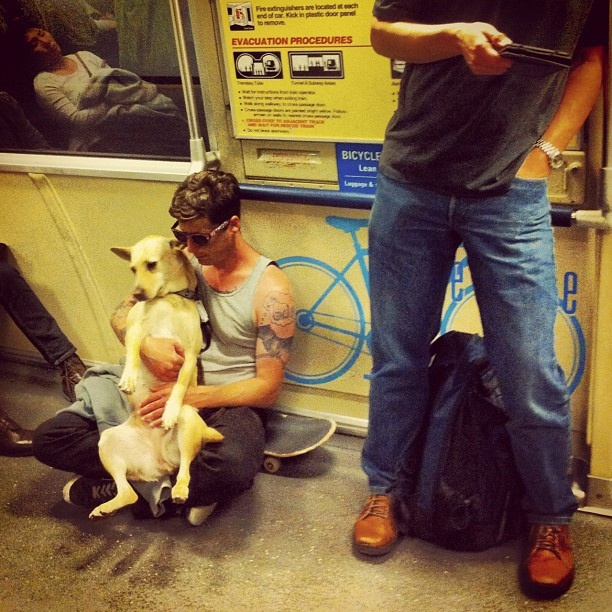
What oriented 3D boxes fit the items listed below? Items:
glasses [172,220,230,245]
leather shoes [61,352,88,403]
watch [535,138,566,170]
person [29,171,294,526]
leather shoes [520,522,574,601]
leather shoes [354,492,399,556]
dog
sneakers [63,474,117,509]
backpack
[{"bbox_3d":[-0.432,-0.330,2.525,0.144,0.045,0.146,14,33,22],"label":"glasses"},{"bbox_3d":[-1.294,0.403,3.452,0.104,0.123,0.271,-22,60,14],"label":"leather shoes"},{"bbox_3d":[0.706,-0.439,1.780,0.036,0.096,0.073,-39,77,-8],"label":"watch"},{"bbox_3d":[-0.552,0.165,2.593,0.994,1.249,1.044,-3,9,-20],"label":"person"},{"bbox_3d":[0.844,0.810,2.123,0.147,0.142,0.382,-3,24,28],"label":"leather shoes"},{"bbox_3d":[0.262,0.820,2.340,0.121,0.105,0.275,1,7,10],"label":"leather shoes"},{"bbox_3d":[-0.598,0.254,2.427,0.454,0.879,0.824,-4,29,2],"label":"dog"},{"bbox_3d":[-0.958,0.826,2.754,0.227,0.128,0.068,-6,16,-4],"label":"sneakers"},{"bbox_3d":[0.622,0.531,2.515,0.456,0.805,0.620,0,7,-15],"label":"backpack"}]
